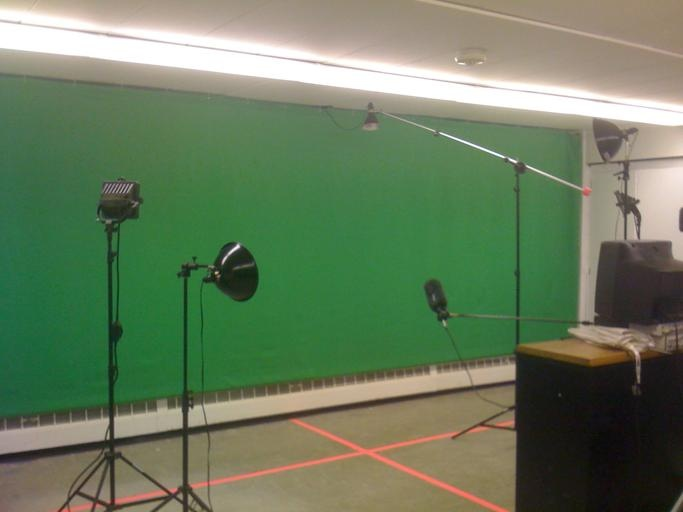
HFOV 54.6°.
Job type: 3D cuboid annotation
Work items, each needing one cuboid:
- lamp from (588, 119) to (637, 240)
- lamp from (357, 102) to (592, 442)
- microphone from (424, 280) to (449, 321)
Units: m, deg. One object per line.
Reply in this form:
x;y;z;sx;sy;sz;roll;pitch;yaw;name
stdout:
2.968;-0.802;7.087;0.490;1.284;1.176;4;10;25;lamp
1.332;0.109;6.097;2.171;3.024;1.108;0;12;9;lamp
0.771;0.359;5.348;0.141;0.386;0.120;-21;-27;11;microphone
